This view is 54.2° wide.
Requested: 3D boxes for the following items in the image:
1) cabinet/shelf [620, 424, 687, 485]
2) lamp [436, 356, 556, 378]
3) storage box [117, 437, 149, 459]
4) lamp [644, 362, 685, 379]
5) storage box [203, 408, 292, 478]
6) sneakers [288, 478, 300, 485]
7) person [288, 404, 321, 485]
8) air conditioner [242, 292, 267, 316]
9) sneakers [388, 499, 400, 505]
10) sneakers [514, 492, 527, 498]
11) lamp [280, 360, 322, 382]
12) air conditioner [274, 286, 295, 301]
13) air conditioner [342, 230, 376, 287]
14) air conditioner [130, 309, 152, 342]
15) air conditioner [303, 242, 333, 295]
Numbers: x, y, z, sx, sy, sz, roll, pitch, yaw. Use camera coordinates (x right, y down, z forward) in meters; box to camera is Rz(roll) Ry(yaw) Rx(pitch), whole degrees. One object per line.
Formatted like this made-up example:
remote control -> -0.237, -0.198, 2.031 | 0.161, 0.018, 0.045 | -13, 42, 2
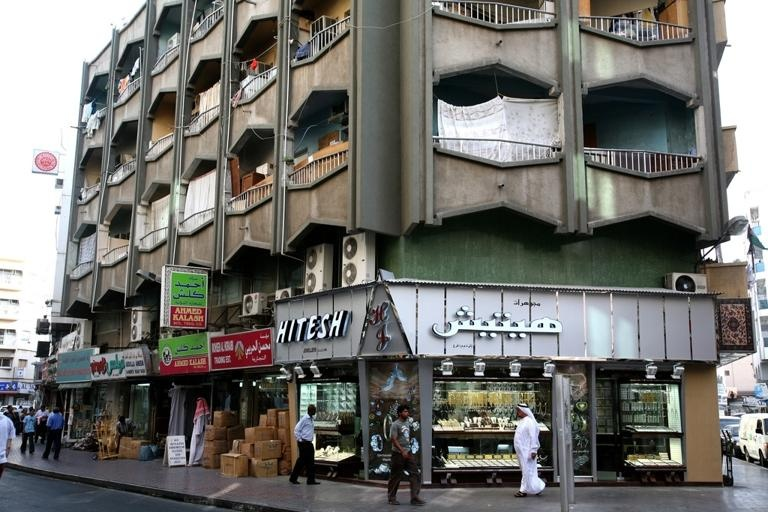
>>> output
cabinet/shelf -> 9.268, 6.941, 25.913 | 2.100, 1.756, 0.661 | 2, -12, -16
lamp -> 3.718, 3.760, 25.263 | 3.962, 0.684, 0.896 | 1, -11, -9
storage box -> -10.871, 8.388, 32.701 | 0.938, 0.980, 0.912 | 11, -21, -33
lamp -> 9.761, 4.007, 26.177 | 1.561, 0.598, 0.647 | 2, -12, -17
storage box -> -5.094, 6.904, 28.106 | 2.802, 1.918, 2.770 | 10, -15, -38
sneakers -> -3.026, 7.621, 25.296 | 0.349, 0.159, 0.123 | 3, -6, 0
person -> -2.706, 6.471, 25.853 | 0.884, 2.614, 1.385 | 1, -11, -8
air conditioner -> -5.391, 1.995, 30.943 | 1.042, 0.892, 0.454 | -7, -13, 26
sneakers -> 0.291, 7.199, 21.918 | 0.123, 0.152, 0.363 | 7, -19, -41
sneakers -> 4.187, 7.355, 23.083 | 0.350, 0.151, 0.134 | -1, -18, 9
lamp -> -2.977, 4.171, 27.362 | 1.352, 0.393, 0.530 | -14, -34, 41
air conditioner -> -3.843, 1.452, 29.122 | 0.749, 0.624, 1.882 | 1, -12, -8
air conditioner -> -0.849, 0.093, 26.618 | 0.941, 2.583, 1.417 | 12, -17, -41
air conditioner -> -12.432, 3.557, 38.540 | 1.052, 2.211, 1.227 | 7, -14, -33
air conditioner -> -2.433, 0.484, 28.131 | 0.848, 2.323, 1.375 | 12, -18, -39
